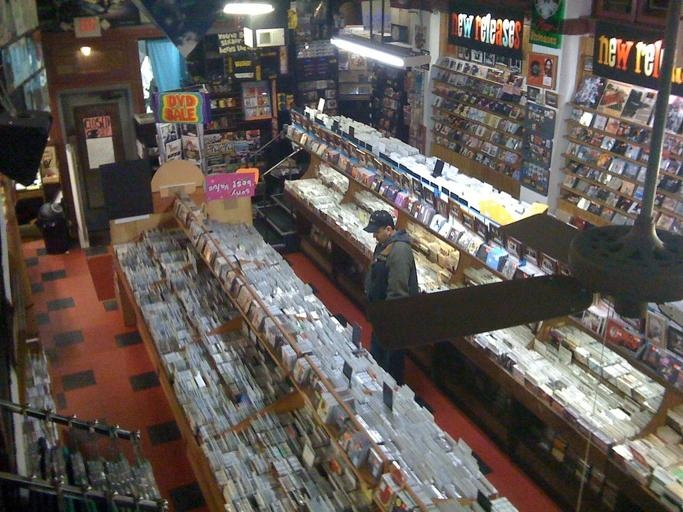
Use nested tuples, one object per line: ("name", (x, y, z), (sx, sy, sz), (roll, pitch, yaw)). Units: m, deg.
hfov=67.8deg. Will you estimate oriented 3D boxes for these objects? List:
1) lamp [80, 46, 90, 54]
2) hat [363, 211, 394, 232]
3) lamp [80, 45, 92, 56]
("lamp", (-4.798, -3.843, 9.512), (0.188, 0.154, 0.074), (-13, 25, -24))
("hat", (0.413, -0.390, 5.803), (0.292, 0.183, 0.215), (-10, 27, -12))
("lamp", (-4.789, -3.841, 9.499), (0.167, 0.168, 0.041), (-8, 15, -20))
